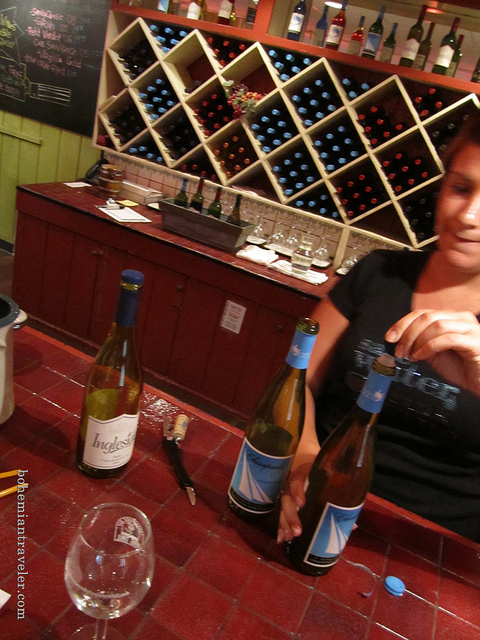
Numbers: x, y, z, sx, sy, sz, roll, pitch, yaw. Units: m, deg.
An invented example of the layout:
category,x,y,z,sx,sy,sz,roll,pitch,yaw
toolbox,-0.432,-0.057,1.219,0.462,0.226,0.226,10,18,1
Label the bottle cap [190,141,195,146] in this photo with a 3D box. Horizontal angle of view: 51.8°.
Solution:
category,x,y,z,sx,sy,sz,roll,pitch,yaw
bottle cap,-0.315,-1.165,3.264,0.026,0.016,0.024,2,6,-18

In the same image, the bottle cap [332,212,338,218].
category,x,y,z,sx,sy,sz,roll,pitch,yaw
bottle cap,0.565,-0.621,2.930,0.041,0.036,0.020,6,1,28

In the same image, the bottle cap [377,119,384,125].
category,x,y,z,sx,sy,sz,roll,pitch,yaw
bottle cap,0.771,-1.084,2.704,0.027,0.027,0.029,66,11,23

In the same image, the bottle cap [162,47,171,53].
category,x,y,z,sx,sy,sz,roll,pitch,yaw
bottle cap,-0.474,-1.704,3.110,0.032,0.016,0.045,9,35,-3

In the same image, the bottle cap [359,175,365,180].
category,x,y,z,sx,sy,sz,roll,pitch,yaw
bottle cap,0.705,-0.819,2.840,0.028,0.028,0.072,20,21,4

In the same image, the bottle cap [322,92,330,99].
category,x,y,z,sx,sy,sz,roll,pitch,yaw
bottle cap,0.478,-1.239,2.741,0.034,0.035,0.015,-14,4,-17

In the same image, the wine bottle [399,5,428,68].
category,x,y,z,sx,sy,sz,roll,pitch,yaw
wine bottle,0.900,-1.445,2.562,0.071,0.303,0.122,4,25,-4

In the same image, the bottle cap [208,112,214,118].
category,x,y,z,sx,sy,sz,roll,pitch,yaw
bottle cap,-0.174,-1.273,3.068,0.029,0.019,0.027,-1,10,-7

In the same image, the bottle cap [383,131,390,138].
category,x,y,z,sx,sy,sz,roll,pitch,yaw
bottle cap,0.816,-1.023,2.745,0.020,0.034,0.037,13,6,-44

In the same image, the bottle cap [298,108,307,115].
category,x,y,z,sx,sy,sz,roll,pitch,yaw
bottle cap,0.369,-1.200,2.845,0.030,0.036,0.011,-7,7,-17

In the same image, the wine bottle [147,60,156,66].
category,x,y,z,sx,sy,sz,roll,pitch,yaw
wine bottle,-0.602,-1.735,3.331,0.041,0.042,0.105,10,22,-20

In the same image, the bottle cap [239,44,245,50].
category,x,y,z,sx,sy,sz,roll,pitch,yaw
bottle cap,0.013,-1.613,2.911,0.035,0.031,0.054,15,21,-7

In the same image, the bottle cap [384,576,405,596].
category,x,y,z,sx,sy,sz,roll,pitch,yaw
bottle cap,0.232,0.398,0.736,0.031,0.011,0.029,21,22,13

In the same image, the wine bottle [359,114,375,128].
category,x,y,z,sx,sy,sz,roll,pitch,yaw
wine bottle,0.705,-1.102,2.744,0.055,0.048,0.140,0,16,14

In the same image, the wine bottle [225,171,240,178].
category,x,y,z,sx,sy,sz,roll,pitch,yaw
wine bottle,-0.056,-0.931,3.153,0.076,0.054,0.087,18,21,1

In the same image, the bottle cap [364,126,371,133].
category,x,y,z,sx,sy,sz,roll,pitch,yaw
bottle cap,0.700,-1.035,2.687,0.028,0.013,0.033,2,45,-5

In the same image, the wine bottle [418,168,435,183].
category,x,y,z,sx,sy,sz,roll,pitch,yaw
wine bottle,1.050,-0.811,2.775,0.084,0.084,0.170,22,22,9

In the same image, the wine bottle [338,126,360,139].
category,x,y,z,sx,sy,sz,roll,pitch,yaw
wine bottle,0.636,-1.084,2.850,0.118,0.026,0.110,15,-15,4

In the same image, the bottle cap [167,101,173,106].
category,x,y,z,sx,sy,sz,roll,pitch,yaw
bottle cap,-0.453,-1.409,3.212,0.026,0.025,0.027,10,-11,-30

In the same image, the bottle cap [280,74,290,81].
category,x,y,z,sx,sy,sz,roll,pitch,yaw
bottle cap,0.264,-1.374,2.801,0.042,0.036,0.020,-9,14,-30

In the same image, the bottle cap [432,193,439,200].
category,x,y,z,sx,sy,sz,roll,pitch,yaw
bottle cap,1.096,-0.688,2.752,0.032,0.026,0.030,0,11,1

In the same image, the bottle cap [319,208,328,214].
category,x,y,z,sx,sy,sz,roll,pitch,yaw
bottle cap,0.499,-0.647,2.932,0.044,0.014,0.030,-5,66,-16

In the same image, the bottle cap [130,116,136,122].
category,x,y,z,sx,sy,sz,roll,pitch,yaw
bottle cap,-0.757,-1.411,3.477,0.022,0.027,0.029,15,-4,31

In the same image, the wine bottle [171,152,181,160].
category,x,y,z,sx,sy,sz,roll,pitch,yaw
wine bottle,-0.432,-1.100,3.325,0.061,0.039,0.058,0,12,0

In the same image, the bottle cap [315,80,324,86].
category,x,y,z,sx,sy,sz,roll,pitch,yaw
bottle cap,0.452,-1.340,2.792,0.039,0.032,0.061,19,21,4

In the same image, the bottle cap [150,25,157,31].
category,x,y,z,sx,sy,sz,roll,pitch,yaw
bottle cap,-0.546,-1.840,3.110,0.044,0.034,0.037,11,23,-16

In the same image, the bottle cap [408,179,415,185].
category,x,y,z,sx,sy,sz,roll,pitch,yaw
bottle cap,0.926,-0.747,2.675,0.034,0.033,0.018,30,-22,14

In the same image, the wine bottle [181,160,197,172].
category,x,y,z,sx,sy,sz,roll,pitch,yaw
wine bottle,-0.344,-1.035,3.339,0.078,0.072,0.021,-28,-4,7

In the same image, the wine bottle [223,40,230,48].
category,x,y,z,sx,sy,sz,roll,pitch,yaw
wine bottle,-0.081,-1.676,2.992,0.044,0.041,0.030,7,25,-25

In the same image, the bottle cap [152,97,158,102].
category,x,y,z,sx,sy,sz,roll,pitch,yaw
bottle cap,-0.547,-1.426,3.192,0.028,0.025,0.020,6,-24,-27

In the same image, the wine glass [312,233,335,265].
category,x,y,z,sx,sy,sz,roll,pitch,yaw
wine glass,0.516,-0.419,3.043,0.144,0.081,0.238,10,45,16

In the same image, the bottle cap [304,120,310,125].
category,x,y,z,sx,sy,sz,roll,pitch,yaw
bottle cap,0.391,-1.143,2.853,0.009,0.035,0.037,10,35,28

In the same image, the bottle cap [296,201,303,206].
category,x,y,z,sx,sy,sz,roll,pitch,yaw
bottle cap,0.361,-0.706,3.004,0.032,0.028,0.018,-5,-11,-10

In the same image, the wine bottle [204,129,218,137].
category,x,y,z,sx,sy,sz,roll,pitch,yaw
wine bottle,-0.184,-1.192,3.142,0.080,0.050,0.058,27,23,23

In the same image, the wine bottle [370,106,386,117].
category,x,y,z,sx,sy,sz,roll,pitch,yaw
wine bottle,0.787,-1.191,2.821,0.075,0.065,0.170,-6,11,16

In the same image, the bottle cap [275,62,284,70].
category,x,y,z,sx,sy,sz,roll,pitch,yaw
bottle cap,0.229,-1.458,2.833,0.036,0.038,0.075,30,25,27

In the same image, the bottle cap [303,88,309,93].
category,x,y,z,sx,sy,sz,roll,pitch,yaw
bottle cap,0.377,-1.289,2.773,0.023,0.020,0.038,8,-9,-13

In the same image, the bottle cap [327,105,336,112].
category,x,y,z,sx,sy,sz,roll,pitch,yaw
bottle cap,0.506,-1.164,2.715,0.025,0.033,0.030,38,-19,-1

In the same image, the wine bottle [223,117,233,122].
category,x,y,z,sx,sy,sz,roll,pitch,yaw
wine bottle,-0.072,-1.234,3.040,0.046,0.034,0.105,13,21,-13

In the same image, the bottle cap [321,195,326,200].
category,x,y,z,sx,sy,sz,roll,pitch,yaw
bottle cap,0.494,-0.718,2.904,0.028,0.027,0.020,9,24,-22

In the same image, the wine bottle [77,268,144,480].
category,x,y,z,sx,sy,sz,roll,pitch,yaw
wine bottle,-0.191,0.092,0.775,0.104,0.353,0.097,11,23,-5

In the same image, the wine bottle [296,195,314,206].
category,x,y,z,sx,sy,sz,roll,pitch,yaw
wine bottle,0.402,-0.718,3.034,0.142,0.057,0.031,-13,3,5

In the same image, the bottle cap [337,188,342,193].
category,x,y,z,sx,sy,sz,roll,pitch,yaw
bottle cap,0.574,-0.746,2.846,0.022,0.018,0.022,28,16,30

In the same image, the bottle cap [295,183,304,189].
category,x,y,z,sx,sy,sz,roll,pitch,yaw
bottle cap,0.358,-0.798,2.950,0.033,0.021,0.042,14,19,16

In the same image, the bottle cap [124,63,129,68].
category,x,y,z,sx,sy,sz,roll,pitch,yaw
bottle cap,-0.761,-1.705,3.306,0.026,0.030,0.031,15,22,-8
